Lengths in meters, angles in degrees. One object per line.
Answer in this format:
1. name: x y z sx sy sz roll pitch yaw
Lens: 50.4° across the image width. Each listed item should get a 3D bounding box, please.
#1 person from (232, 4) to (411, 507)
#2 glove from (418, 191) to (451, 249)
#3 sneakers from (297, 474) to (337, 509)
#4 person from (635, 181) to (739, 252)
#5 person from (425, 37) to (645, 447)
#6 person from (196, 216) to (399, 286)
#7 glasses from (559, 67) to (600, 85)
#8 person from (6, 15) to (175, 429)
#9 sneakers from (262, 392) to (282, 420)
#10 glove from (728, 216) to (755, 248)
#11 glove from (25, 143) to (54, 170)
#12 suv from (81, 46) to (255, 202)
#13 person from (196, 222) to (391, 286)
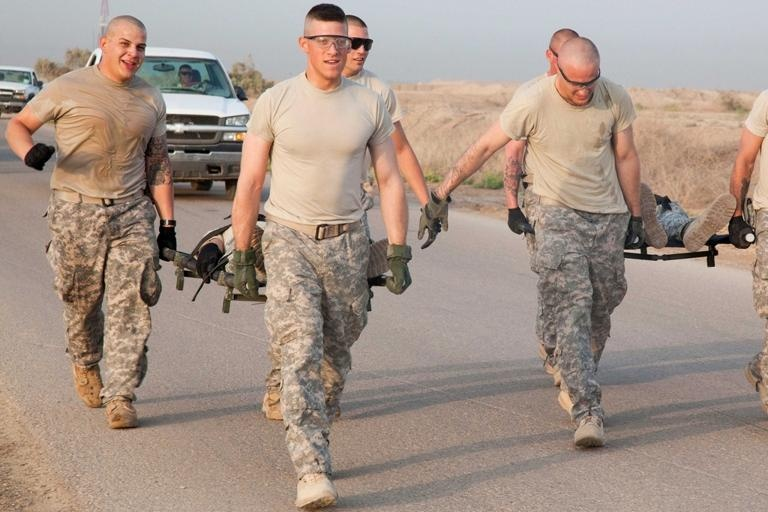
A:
1. person: -0.453 -0.072 5.028 1.087 2.881 1.156 5 13 14
2. glove: 0.370 -0.248 6.588 0.297 0.444 0.195 21 43 9
3. sneakers: -0.386 1.337 4.643 0.221 0.205 0.115 1 12 -5
4. person: 2.348 -0.291 6.724 0.553 0.368 0.895 -8 2 -25
5. person: 1.192 -0.161 5.925 1.188 2.731 1.194 5 13 16
6. person: -0.837 0.039 6.216 0.669 0.330 0.958 -22 -9 33
7. glasses: 1.367 -1.250 5.766 0.279 0.144 0.142 4 13 10
8. person: -2.080 -0.267 5.933 1.062 2.858 0.943 -1 13 -14
9. sneakers: -0.809 1.095 6.001 0.150 0.216 0.078 -5 4 24
10. glove: 2.809 -0.179 6.433 0.200 0.244 0.111 -7 2 5
11. glove: -2.359 -0.662 5.593 0.187 0.201 0.355 -3 13 -18
12. suv: -4.220 -2.570 16.947 3.195 2.583 5.557 0 4 -9
13. person: -0.788 0.001 6.162 1.528 0.481 0.980 9 1 -4
